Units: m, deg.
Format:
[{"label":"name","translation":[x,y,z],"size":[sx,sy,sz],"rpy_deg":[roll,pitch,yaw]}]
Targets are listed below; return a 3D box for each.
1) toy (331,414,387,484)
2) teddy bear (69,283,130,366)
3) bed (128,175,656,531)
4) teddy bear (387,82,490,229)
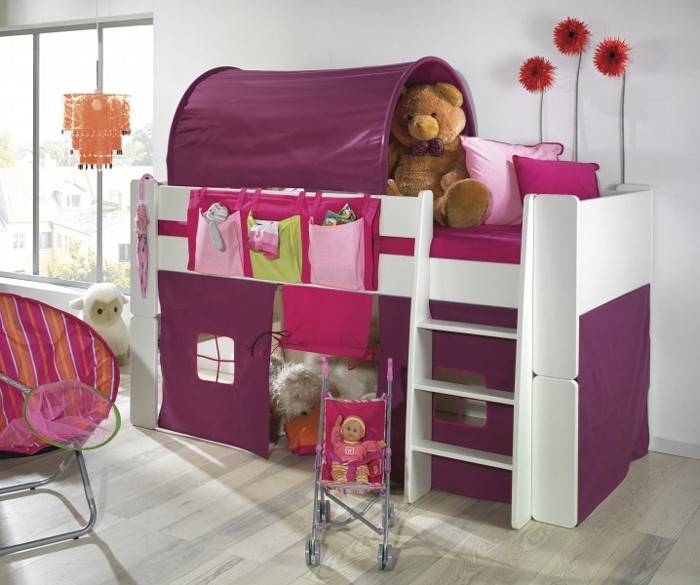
[{"label":"toy","translation":[0.028,0.663,2.592],"size":[0.236,0.240,0.194],"rpy_deg":[0,9,-1]},{"label":"teddy bear","translation":[-1.887,0.219,4.664],"size":[0.407,0.648,0.379],"rpy_deg":[-10,22,-40]},{"label":"bed","translation":[0.143,0.122,3.321],"size":[2.712,1.394,1.188],"rpy_deg":[5,11,26]},{"label":"teddy bear","translation":[0.413,-0.746,3.303],"size":[0.632,0.759,0.558],"rpy_deg":[2,21,17]}]
